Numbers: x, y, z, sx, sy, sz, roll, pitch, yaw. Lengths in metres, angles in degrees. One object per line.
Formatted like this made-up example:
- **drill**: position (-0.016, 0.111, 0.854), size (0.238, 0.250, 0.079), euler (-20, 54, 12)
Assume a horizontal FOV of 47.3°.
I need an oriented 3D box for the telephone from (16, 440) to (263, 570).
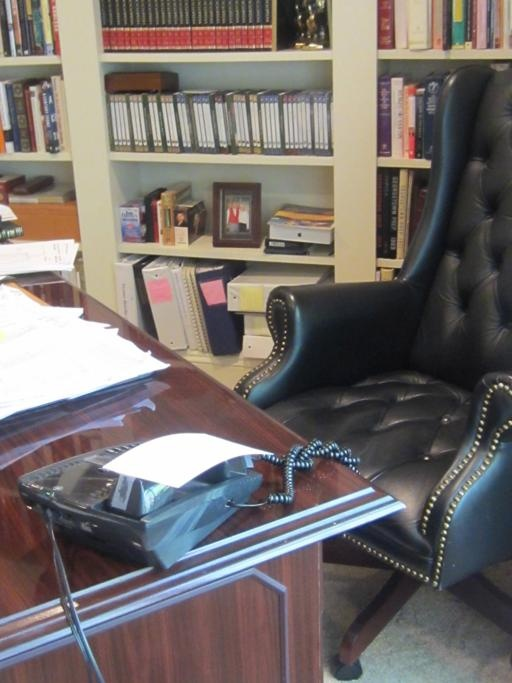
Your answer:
- **telephone**: position (-0.099, 0.128, 0.519), size (0.201, 0.054, 0.200), euler (1, 10, 12)
